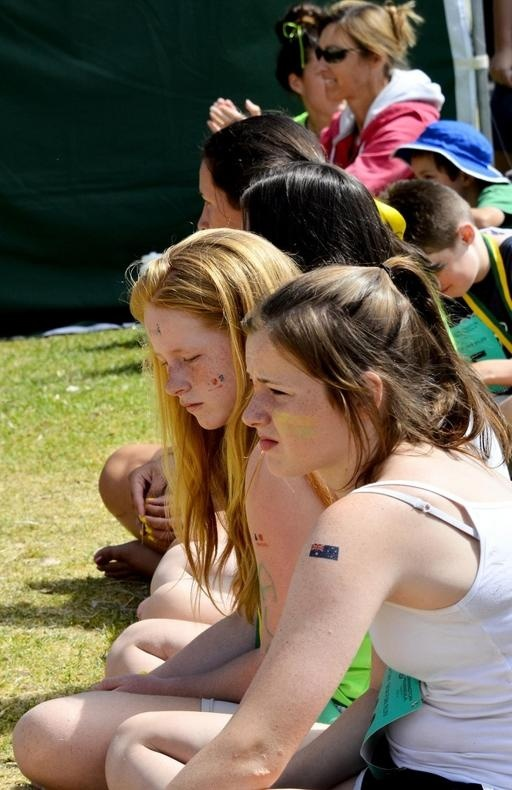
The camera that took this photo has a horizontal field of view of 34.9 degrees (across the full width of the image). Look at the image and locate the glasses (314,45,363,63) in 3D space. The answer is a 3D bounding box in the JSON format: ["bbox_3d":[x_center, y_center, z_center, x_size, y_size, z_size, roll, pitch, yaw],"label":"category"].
[{"bbox_3d":[0.364,-1.600,3.820,0.181,0.051,0.160,-5,14,-25],"label":"glasses"}]
